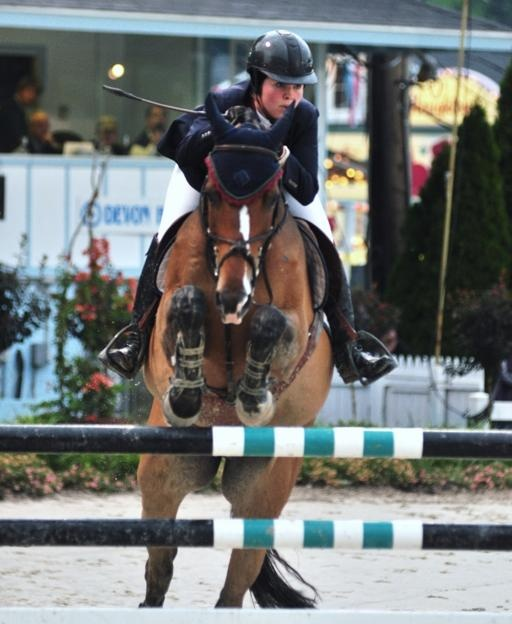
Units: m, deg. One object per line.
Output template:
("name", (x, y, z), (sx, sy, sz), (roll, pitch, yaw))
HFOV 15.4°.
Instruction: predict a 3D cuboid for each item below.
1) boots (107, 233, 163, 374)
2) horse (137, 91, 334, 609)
("boots", (-0.728, -0.077, 11.692), (0.297, 0.981, 0.219), (14, 29, 3))
("horse", (-0.212, 0.011, 12.309), (0.781, 2.450, 3.441), (6, -4, -2))
